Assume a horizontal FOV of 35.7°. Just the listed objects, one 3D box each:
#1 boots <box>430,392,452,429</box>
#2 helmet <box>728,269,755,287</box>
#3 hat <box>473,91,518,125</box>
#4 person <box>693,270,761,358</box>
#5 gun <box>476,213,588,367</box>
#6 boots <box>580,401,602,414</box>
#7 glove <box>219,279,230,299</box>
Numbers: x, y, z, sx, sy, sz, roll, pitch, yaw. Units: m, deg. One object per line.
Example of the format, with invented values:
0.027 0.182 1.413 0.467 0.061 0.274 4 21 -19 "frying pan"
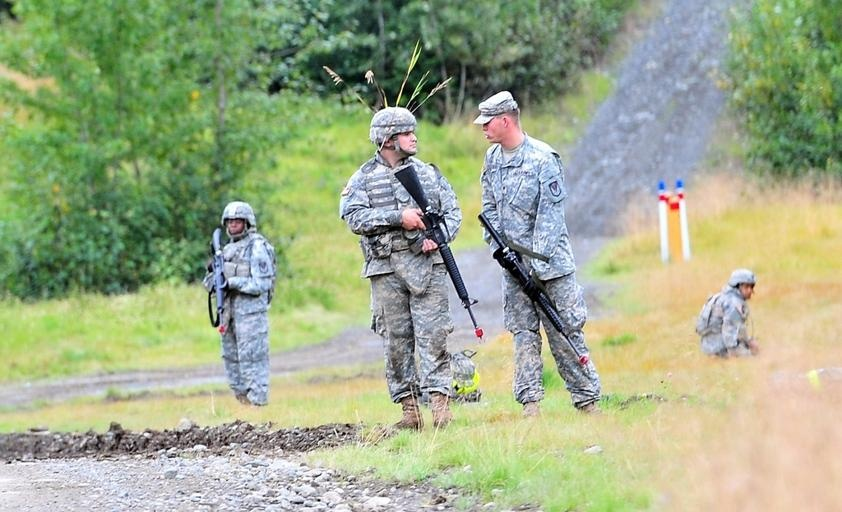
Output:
0.269 2.145 17.886 0.268 0.464 0.185 -7 -8 19 "boots"
4.618 0.348 18.869 0.321 0.264 0.255 -14 5 3 "helmet"
1.017 -2.010 17.938 0.576 0.282 0.387 -25 12 4 "hat"
4.510 1.040 19.029 0.871 1.592 1.041 1 5 -14 "person"
1.640 0.622 19.464 0.626 2.428 0.865 -30 -9 -13 "gun"
2.304 2.086 17.795 0.280 0.120 0.139 -6 8 9 "boots"
-2.974 0.526 19.794 0.086 0.335 0.128 -3 -12 19 "glove"
